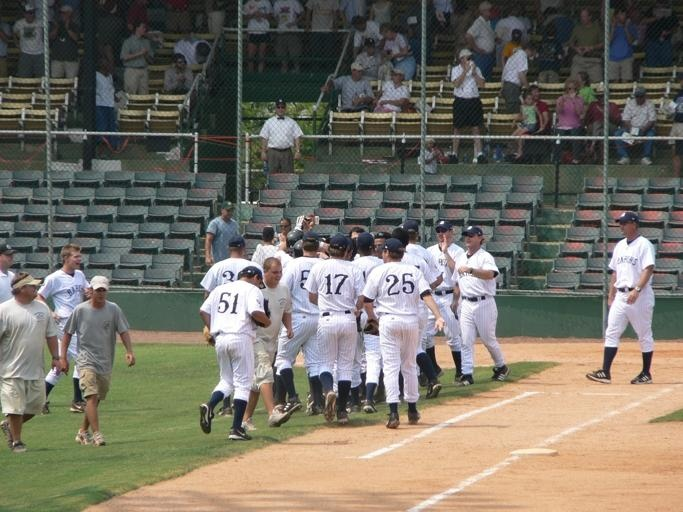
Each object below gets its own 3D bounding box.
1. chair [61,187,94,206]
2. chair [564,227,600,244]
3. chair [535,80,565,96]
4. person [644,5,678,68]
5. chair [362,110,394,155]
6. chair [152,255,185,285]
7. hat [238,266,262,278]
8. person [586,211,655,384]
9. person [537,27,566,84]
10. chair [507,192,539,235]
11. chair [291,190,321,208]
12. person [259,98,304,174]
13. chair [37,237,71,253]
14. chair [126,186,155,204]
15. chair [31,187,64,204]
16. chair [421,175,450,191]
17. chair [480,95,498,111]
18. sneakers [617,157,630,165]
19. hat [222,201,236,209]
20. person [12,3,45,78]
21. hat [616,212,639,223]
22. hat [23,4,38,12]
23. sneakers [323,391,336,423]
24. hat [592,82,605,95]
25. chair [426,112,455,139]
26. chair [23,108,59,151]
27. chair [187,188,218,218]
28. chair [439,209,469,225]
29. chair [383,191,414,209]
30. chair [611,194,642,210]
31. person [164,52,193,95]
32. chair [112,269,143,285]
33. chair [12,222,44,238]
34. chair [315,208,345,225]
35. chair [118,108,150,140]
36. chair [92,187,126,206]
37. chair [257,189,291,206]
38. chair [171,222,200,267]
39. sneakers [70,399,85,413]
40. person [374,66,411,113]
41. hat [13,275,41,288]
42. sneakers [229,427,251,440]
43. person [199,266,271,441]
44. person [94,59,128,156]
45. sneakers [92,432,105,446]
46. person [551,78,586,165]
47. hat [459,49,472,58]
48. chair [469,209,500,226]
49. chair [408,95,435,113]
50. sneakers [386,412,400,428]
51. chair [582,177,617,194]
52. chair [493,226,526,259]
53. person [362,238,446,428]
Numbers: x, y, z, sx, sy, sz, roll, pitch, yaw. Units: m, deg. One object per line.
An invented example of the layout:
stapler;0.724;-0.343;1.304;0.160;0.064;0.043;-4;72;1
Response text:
chair;-6.096;-1.369;38.310;0.697;0.439;0.388;0;6;-5
chair;5.275;-0.458;36.008;0.667;0.394;0.340;1;-4;8
chair;5.111;-4.065;40.427;0.642;0.280;0.870;1;-1;-1
person;7.948;-5.367;40.690;1.027;1.560;0.557;0;4;-32
chair;0.846;-2.920;38.902;0.898;1.071;0.810;2;14;2
chair;-3.806;0.309;36.630;0.632;0.761;0.644;0;-6;-2
hat;-1.496;0.278;27.641;0.272;0.191;0.447;3;0;31
person;5.217;0.786;30.179;1.022;3.136;0.736;2;3;9
person;5.224;-4.965;40.951;0.639;1.445;0.483;2;3;7
chair;4.023;-1.030;36.814;0.701;0.796;0.678;1;-3;11
chair;-0.819;-1.268;37.393;0.464;0.581;0.490;0;-1;3
person;-1.390;-2.665;37.707;0.950;1.689;1.134;2;3;-3
chair;-6.519;-0.246;37.128;0.643;0.382;0.465;1;-15;-9
chair;-4.647;-1.364;38.107;0.619;0.391;0.393;0;1;-2
chair;-6.831;-1.379;38.444;0.716;0.373;0.458;1;3;-11
chair;2.214;-1.655;37.594;0.449;0.365;0.446;4;10;12
chair;3.618;-3.646;39.881;0.368;0.366;0.242;-1;-10;17
sneakers;6.584;-2.185;38.519;0.274;0.116;0.119;4;7;26
hat;-2.579;-1.145;37.758;0.315;0.217;0.444;2;2;-24
person;-7.783;-5.331;41.317;0.874;1.787;0.515;4;4;39
hat;5.230;-0.681;30.106;0.323;0.197;0.291;2;3;3
hat;-7.749;-6.154;41.104;0.245;0.216;0.424;0;3;-37
sneakers;-0.191;2.553;27.768;0.192;0.557;0.240;0;22;-1
hat;6.124;-3.991;39.374;0.253;0.300;0.787;0;-9;9
chair;2.291;-2.970;38.272;0.849;0.809;0.601;2;12;3
chair;-7.392;-3.240;40.615;0.924;0.780;1.414;1;3;-11
chair;-3.149;-1.206;37.890;0.751;0.704;0.617;0;-2;8
chair;2.503;-0.852;36.504;0.666;0.423;0.343;0;-4;7
chair;1.268;-1.257;37.172;0.715;0.506;0.384;1;-3;7
chair;6.254;-1.176;36.400;0.570;0.360;0.366;0;-5;15
person;-4.074;-4.498;41.048;0.953;1.252;0.837;-1;5;-16
chair;-4.727;0.466;36.516;0.636;0.328;0.423;1;-6;-4
chair;-7.090;-0.586;37.586;0.644;0.385;0.349;1;-8;-5
chair;-0.236;-0.894;36.971;0.572;0.393;0.365;0;-6;2
chair;-5.131;-3.265;41.118;1.141;0.756;0.873;1;0;6
chair;-5.335;-1.361;38.216;0.505;0.560;0.492;1;8;-6
chair;-1.497;-1.292;37.563;0.520;0.471;0.421;0;2;-2
chair;-3.477;-0.299;37.300;0.839;1.057;0.757;1;-2;4
sneakers;-4.749;2.696;29.469;0.334;0.141;0.119;-1;-1;10
person;1.183;-3.823;38.740;0.808;1.056;0.912;9;16;20
hat;-5.224;0.434;27.327;0.327;0.163;0.228;-4;-1;-7
sneakers;-1.670;2.944;27.348;0.355;0.254;0.284;2;3;-5
person;-1.776;1.622;27.429;1.129;2.862;1.063;2;3;-5
person;-5.625;-3.656;40.100;0.666;2.328;1.563;2;3;-4
sneakers;-4.010;3.040;27.414;0.221;0.247;0.193;1;3;-15
person;5.316;-3.080;38.330;0.690;1.909;0.641;2;3;5
hat;2.880;-4.660;38.250;0.215;0.158;0.297;0;0;-12
chair;3.137;-0.837;36.421;0.685;0.430;0.356;1;-2;8
chair;1.908;-3.561;39.389;0.639;0.348;0.819;6;11;15
sneakers;0.868;2.775;27.827;0.215;0.280;0.271;2;3;1
chair;5.838;-1.572;37.302;0.678;0.425;0.368;1;-8;5
chair;3.593;-0.339;36.159;0.581;0.777;0.671;0;-5;14
person;0.958;1.330;27.902;1.207;3.166;0.574;2;3;-1
